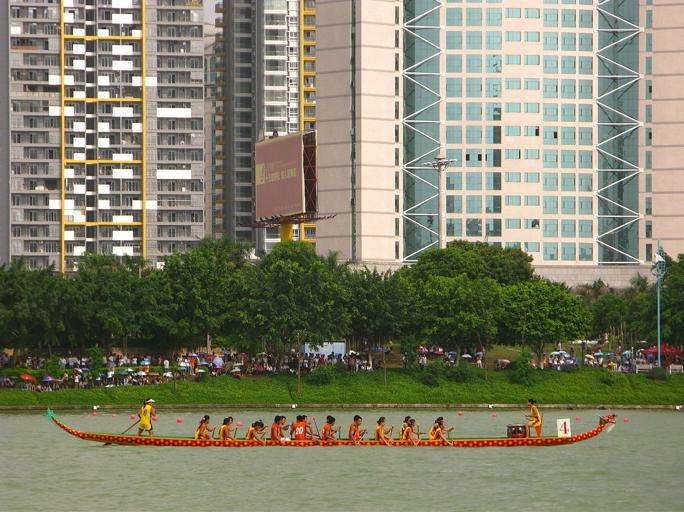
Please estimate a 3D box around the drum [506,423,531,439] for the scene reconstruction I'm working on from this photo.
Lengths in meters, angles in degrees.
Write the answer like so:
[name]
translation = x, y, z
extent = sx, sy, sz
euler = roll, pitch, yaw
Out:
[drum]
translation = 22.989, 22.417, 265.367
extent = 1.917, 1.398, 1.989
euler = 0, -3, 0
